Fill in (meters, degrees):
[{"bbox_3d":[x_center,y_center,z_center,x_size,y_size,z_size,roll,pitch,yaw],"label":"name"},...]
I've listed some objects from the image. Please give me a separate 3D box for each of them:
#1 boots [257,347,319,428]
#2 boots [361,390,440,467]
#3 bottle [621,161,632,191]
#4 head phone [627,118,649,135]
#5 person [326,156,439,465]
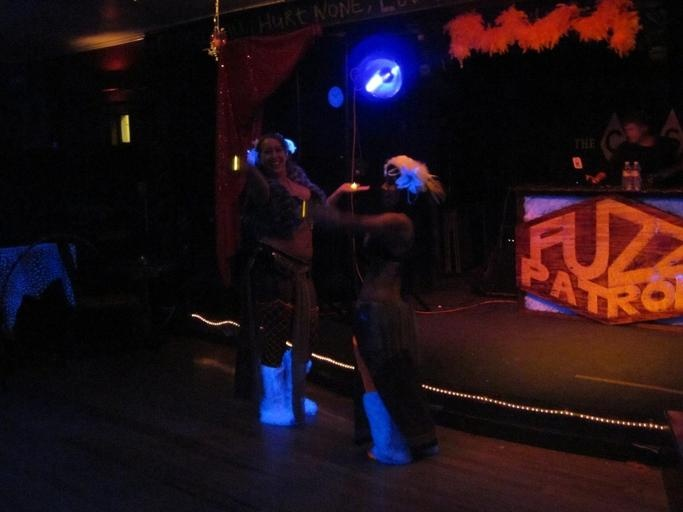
[{"bbox_3d":[-0.382,1.057,4.601,0.577,0.688,0.361,2,0,-41],"label":"boots"},{"bbox_3d":[0.341,1.179,4.152,0.541,0.648,0.378,-8,1,-9],"label":"boots"},{"bbox_3d":[3.017,-0.856,6.004,0.089,0.257,0.218,5,11,26],"label":"bottle"},{"bbox_3d":[3.471,-1.525,6.707,0.201,0.195,0.159,13,-15,-33],"label":"head phone"},{"bbox_3d":[0.330,0.365,3.860,0.662,2.049,0.356,1,10,9],"label":"person"}]
